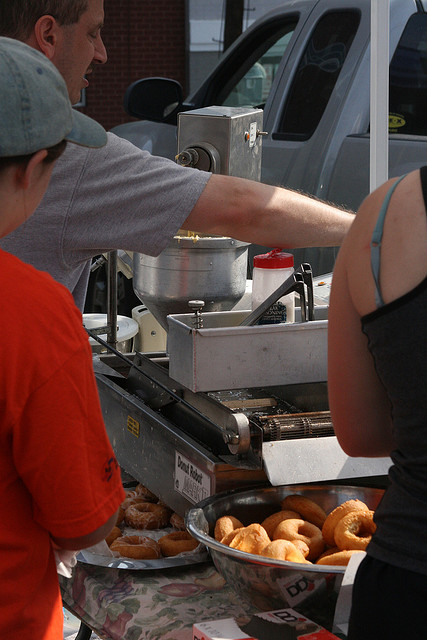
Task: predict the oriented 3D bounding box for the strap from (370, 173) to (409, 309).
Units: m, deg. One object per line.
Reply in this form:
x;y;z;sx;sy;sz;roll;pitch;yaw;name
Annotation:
0.192;-0.089;0.718;0.030;0.149;0.031;5;5;25;strap

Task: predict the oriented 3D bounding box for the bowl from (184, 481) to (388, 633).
0.106;0.372;1.073;0.296;0.116;0.412;4;4;21;bowl

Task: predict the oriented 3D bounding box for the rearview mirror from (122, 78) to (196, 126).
-0.350;-1.244;3.585;0.306;0.141;0.552;2;4;-8;rearview mirror

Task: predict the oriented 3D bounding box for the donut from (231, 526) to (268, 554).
0.059;0.351;1.013;0.056;0.028;0.051;3;4;11;donut

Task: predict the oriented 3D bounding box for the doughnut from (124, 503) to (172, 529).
-0.156;0.467;1.508;0.099;0.045;0.095;1;4;-23;doughnut

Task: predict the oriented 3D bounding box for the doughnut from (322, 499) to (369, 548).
0.212;0.337;1.075;0.028;0.077;0.076;46;10;-9;doughnut

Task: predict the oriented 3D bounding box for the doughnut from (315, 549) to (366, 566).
0.192;0.361;0.965;0.065;0.020;0.064;-12;-10;29;doughnut

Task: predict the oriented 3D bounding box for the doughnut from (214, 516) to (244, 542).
0.027;0.356;1.083;0.015;0.036;0.039;9;-10;31;doughnut

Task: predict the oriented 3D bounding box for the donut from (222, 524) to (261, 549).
0.052;0.360;1.043;0.044;0.014;0.042;-4;-20;-32;donut
